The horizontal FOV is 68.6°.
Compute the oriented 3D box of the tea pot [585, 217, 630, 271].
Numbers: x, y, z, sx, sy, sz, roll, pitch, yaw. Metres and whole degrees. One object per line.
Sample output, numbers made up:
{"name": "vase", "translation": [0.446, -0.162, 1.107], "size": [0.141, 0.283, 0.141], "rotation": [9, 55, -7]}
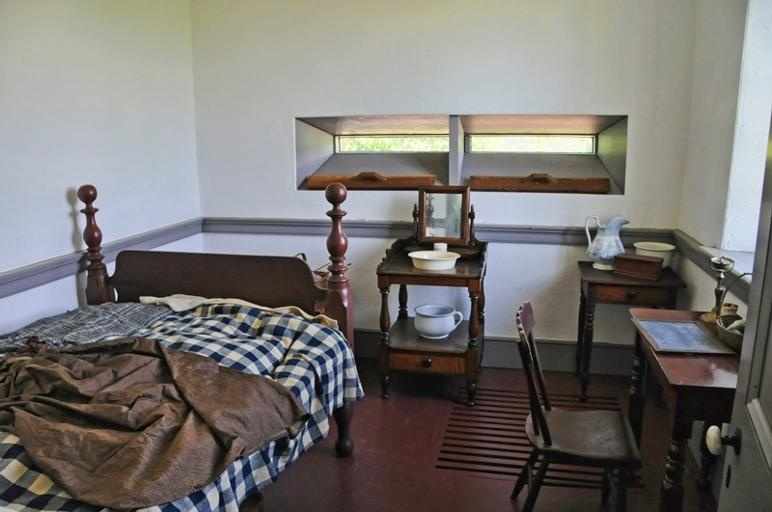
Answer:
{"name": "tea pot", "translation": [1.710, -0.112, 4.437], "size": [0.330, 0.400, 0.248], "rotation": [5, 12, 29]}

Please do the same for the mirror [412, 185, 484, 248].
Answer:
{"name": "mirror", "translation": [0.499, -0.315, 4.585], "size": [0.546, 0.591, 0.062], "rotation": [0, 6, 11]}

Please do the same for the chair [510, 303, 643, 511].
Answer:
{"name": "chair", "translation": [1.066, 0.902, 3.174], "size": [0.679, 1.231, 0.641], "rotation": [4, 15, 20]}

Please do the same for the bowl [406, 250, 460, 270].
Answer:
{"name": "bowl", "translation": [0.380, 0.022, 4.381], "size": [0.370, 0.115, 0.325], "rotation": [1, 13, 6]}

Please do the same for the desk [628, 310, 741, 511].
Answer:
{"name": "desk", "translation": [1.556, 0.807, 2.996], "size": [0.457, 0.807, 0.731], "rotation": [3, 14, 16]}

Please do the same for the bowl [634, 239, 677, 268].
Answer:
{"name": "bowl", "translation": [2.092, -0.029, 4.379], "size": [0.215, 0.104, 0.218], "rotation": [0, 8, 0]}

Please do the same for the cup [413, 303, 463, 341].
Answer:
{"name": "cup", "translation": [0.423, 0.514, 4.462], "size": [0.331, 0.155, 0.256], "rotation": [0, 1, -4]}

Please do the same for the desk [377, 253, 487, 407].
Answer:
{"name": "desk", "translation": [0.401, 0.500, 4.558], "size": [0.807, 1.053, 0.716], "rotation": [2, 9, 13]}
